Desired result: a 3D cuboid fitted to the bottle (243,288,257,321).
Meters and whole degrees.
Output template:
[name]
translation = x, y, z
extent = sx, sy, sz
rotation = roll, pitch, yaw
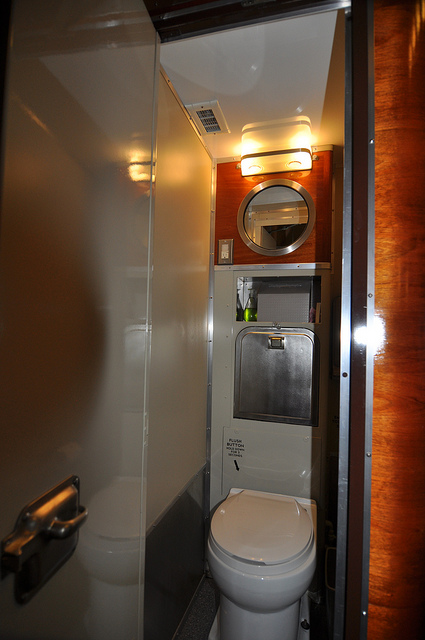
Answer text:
[bottle]
translation = 0.182, -0.080, 2.322
extent = 0.065, 0.160, 0.084
rotation = 0, 0, 2
